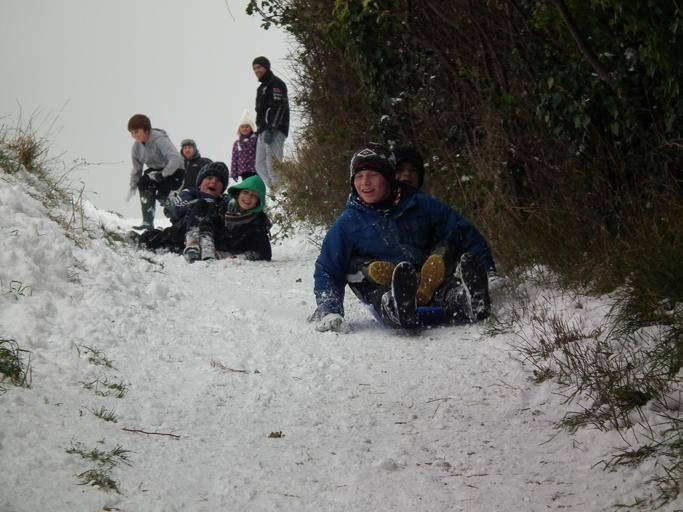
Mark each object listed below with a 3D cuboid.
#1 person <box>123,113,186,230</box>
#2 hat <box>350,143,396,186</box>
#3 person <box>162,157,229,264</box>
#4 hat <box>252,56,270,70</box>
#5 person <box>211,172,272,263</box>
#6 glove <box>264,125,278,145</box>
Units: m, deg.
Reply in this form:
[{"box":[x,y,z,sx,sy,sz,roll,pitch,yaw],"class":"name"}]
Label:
[{"box":[-2.352,-1.016,9.536,0.782,1.476,0.633,0,-8,-34],"class":"person"},{"box":[0.216,-0.683,5.588,0.293,0.313,0.281,3,-5,32],"class":"hat"},{"box":[-1.467,-0.474,7.753,0.607,1.132,1.302,-3,-3,-9],"class":"person"},{"box":[-0.996,-2.415,9.217,0.189,0.097,0.407,-4,-3,-4],"class":"hat"},{"box":[-1.083,-0.377,7.933,0.797,1.035,0.709,7,6,-10],"class":"person"},{"box":[-0.896,-1.525,9.475,0.067,0.210,0.145,10,13,26],"class":"glove"}]
